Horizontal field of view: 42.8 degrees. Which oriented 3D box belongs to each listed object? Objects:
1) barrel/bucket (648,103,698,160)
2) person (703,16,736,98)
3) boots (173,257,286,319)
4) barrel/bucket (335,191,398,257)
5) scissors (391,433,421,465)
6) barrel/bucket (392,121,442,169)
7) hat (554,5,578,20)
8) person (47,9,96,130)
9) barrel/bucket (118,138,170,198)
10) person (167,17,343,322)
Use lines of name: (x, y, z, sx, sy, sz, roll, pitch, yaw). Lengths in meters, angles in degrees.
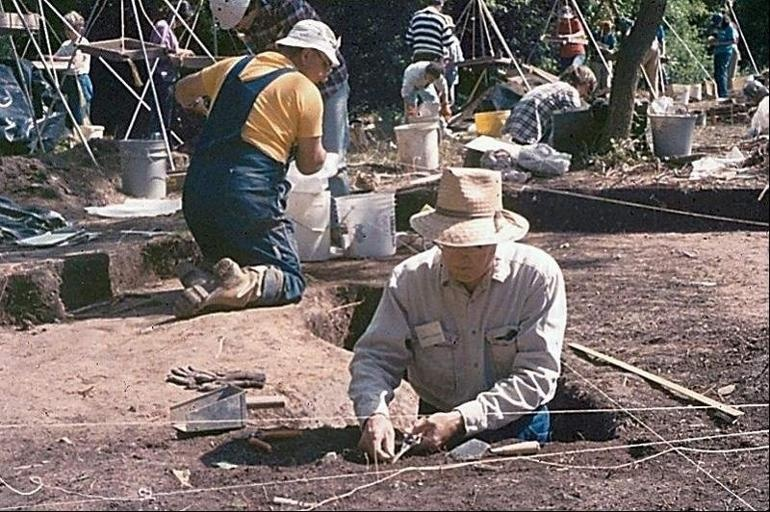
barrel/bucket: (3.853, -1.651, 13.265, 0.874, 0.903, 0.804, -2, 7, 0)
person: (6.087, -3.540, 17.702, 0.467, 1.443, 1.536, 1, 8, 19)
boots: (-1.441, 0.292, 9.260, 0.782, 0.395, 0.554, -1, 1, -17)
barrel/bucket: (-0.223, -0.315, 10.684, 0.612, 0.676, 0.651, -3, 9, 1)
scissors: (0.172, 1.524, 7.738, 0.140, 0.089, 0.315, 31, 57, 19)
barrel/bucket: (0.466, -1.530, 13.870, 0.587, 0.708, 0.658, -1, 14, 18)
hat: (3.121, -4.176, 16.963, 0.393, 0.188, 0.574, 1, -7, 9)
person: (-4.349, -2.620, 13.825, 0.498, 1.598, 2.267, -3, 8, -16)
barrel/bucket: (-2.969, -1.107, 12.283, 0.629, 0.714, 0.643, 2, 10, 0)
person: (-1.250, -0.816, 9.293, 1.487, 2.729, 0.616, -3, 7, -14)
